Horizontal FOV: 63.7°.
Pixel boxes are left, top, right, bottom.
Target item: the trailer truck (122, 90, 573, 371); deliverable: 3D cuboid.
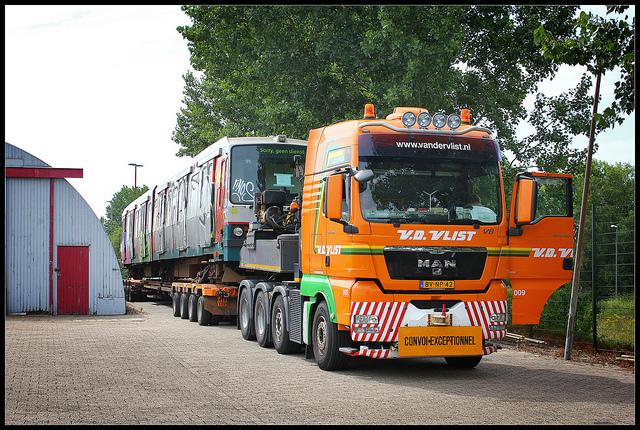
[{"bbox_3d":[1.259,0.462,10.932,6.687,5.513,3.446,-4,-5,43],"label":"trailer truck"}]
